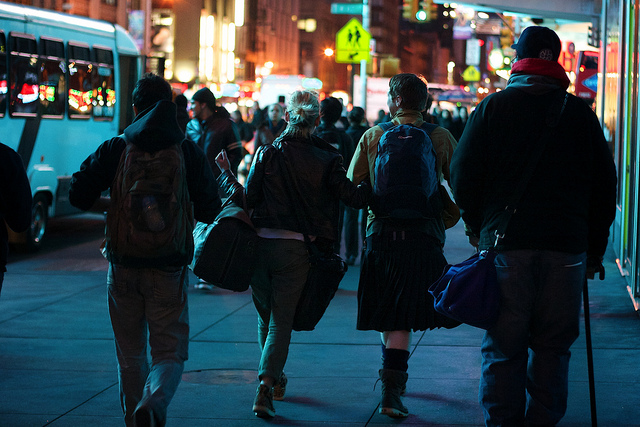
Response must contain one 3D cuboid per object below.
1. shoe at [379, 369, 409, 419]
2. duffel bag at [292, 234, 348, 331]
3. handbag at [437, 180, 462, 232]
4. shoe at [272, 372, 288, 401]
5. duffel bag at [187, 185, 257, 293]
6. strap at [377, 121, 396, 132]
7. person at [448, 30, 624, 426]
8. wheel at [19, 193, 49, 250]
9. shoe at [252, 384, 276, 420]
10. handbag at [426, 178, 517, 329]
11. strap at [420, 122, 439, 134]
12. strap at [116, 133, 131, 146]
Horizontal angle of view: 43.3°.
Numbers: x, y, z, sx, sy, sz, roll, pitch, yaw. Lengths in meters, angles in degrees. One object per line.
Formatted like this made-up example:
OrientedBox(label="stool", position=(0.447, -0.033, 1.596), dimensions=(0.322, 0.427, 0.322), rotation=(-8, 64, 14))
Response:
OrientedBox(label="shoe", position=(0.587, 1.479, 6.554), dimensions=(0.168, 0.305, 0.428), rotation=(0, -12, 22))
OrientedBox(label="duffel bag", position=(-0.028, 0.636, 6.888), dimensions=(0.367, 0.718, 0.491), rotation=(21, 5, 6))
OrientedBox(label="handbag", position=(1.096, -0.062, 6.947), dimensions=(0.268, 0.388, 0.132), rotation=(-2, -16, -4))
OrientedBox(label="shoe", position=(-0.347, 1.512, 7.041), dimensions=(0.075, 0.252, 0.103), rotation=(-1, -37, 7))
OrientedBox(label="duffel bag", position=(-0.792, 0.215, 6.593), dimensions=(0.545, 0.790, 0.408), rotation=(-2, 7, -12))
OrientedBox(label="strap", position=(0.563, -0.757, 6.877), dimensions=(0.089, 0.091, 0.082), rotation=(-1, -10, 3))
OrientedBox(label="person", position=(1.418, 0.086, 5.425), dimensions=(1.068, 2.636, 0.567), rotation=(0, 6, 8))
OrientedBox(label="wheel", position=(-4.950, 0.161, 14.027), dimensions=(0.471, 0.937, 1.407), rotation=(-3, 8, -18))
OrientedBox(label="shoe", position=(-0.449, 1.529, 6.496), dimensions=(0.121, 0.226, 0.320), rotation=(5, -6, 16))
OrientedBox(label="handbag", position=(1.009, 0.238, 5.541), dimensions=(0.531, 0.986, 0.692), rotation=(-1, 7, -6))
OrientedBox(label="strap", position=(0.928, -0.744, 6.928), dimensions=(0.099, 0.106, 0.097), rotation=(1, -12, 5))
OrientedBox(label="strap", position=(-1.442, -0.551, 5.973), dimensions=(0.022, 0.085, 0.080), rotation=(-37, -8, 1))
